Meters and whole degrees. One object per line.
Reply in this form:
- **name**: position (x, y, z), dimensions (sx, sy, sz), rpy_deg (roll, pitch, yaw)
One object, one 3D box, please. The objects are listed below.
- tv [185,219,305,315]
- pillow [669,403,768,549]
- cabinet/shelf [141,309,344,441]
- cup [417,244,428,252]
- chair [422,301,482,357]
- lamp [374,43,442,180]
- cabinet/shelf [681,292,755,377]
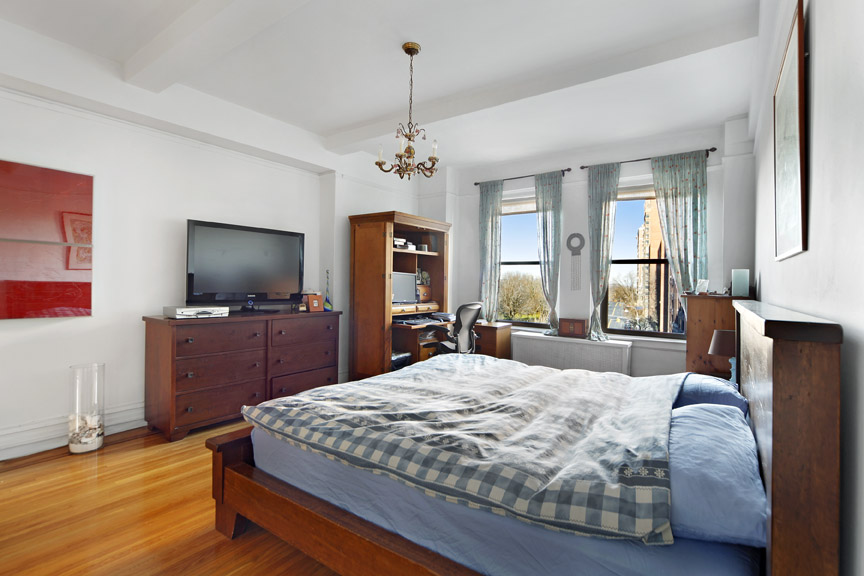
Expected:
- **tv**: position (-1.936, -0.221, 5.631), dimensions (0.332, 0.888, 1.306), rpy_deg (4, 2, 44)
- **pillow**: position (1.533, 1.022, 2.869), dimensions (0.497, 0.227, 0.856), rpy_deg (-2, 11, 23)
- **cabinet/shelf**: position (-1.614, 0.857, 5.467), dimensions (1.797, 1.034, 0.562), rpy_deg (-8, -16, 0)
- **cup**: position (-0.134, -0.533, 7.051), dimensions (0.109, 0.105, 0.109), rpy_deg (0, -1, 0)
- **chair**: position (0.220, 0.576, 6.325), dimensions (0.653, 0.853, 0.546), rpy_deg (4, 5, 43)
- **lamp**: position (-0.193, -1.589, 4.794), dimensions (0.700, 1.166, 0.663), rpy_deg (-3, 7, -34)
- **cabinet/shelf**: position (2.766, 0.467, 5.220), dimensions (0.443, 0.748, 0.264), rpy_deg (-4, -7, 28)
